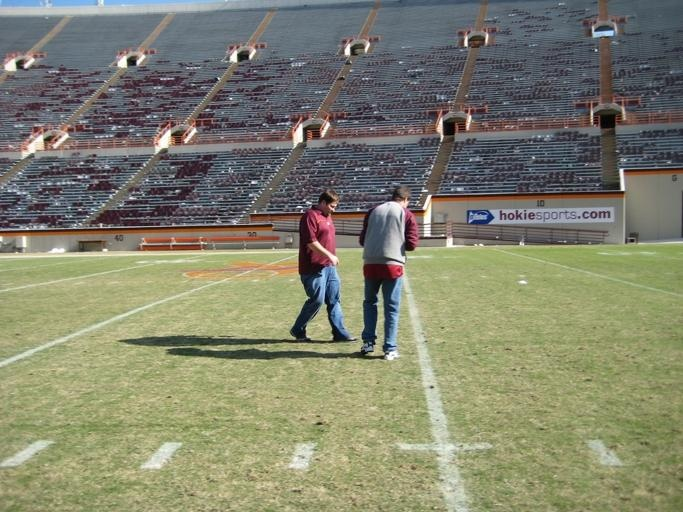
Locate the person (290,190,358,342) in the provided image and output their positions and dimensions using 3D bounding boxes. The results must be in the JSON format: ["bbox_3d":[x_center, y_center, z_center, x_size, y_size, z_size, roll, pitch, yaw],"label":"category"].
[{"bbox_3d":[-0.276,0.155,8.017,0.814,1.932,0.758,-4,9,-3],"label":"person"}]

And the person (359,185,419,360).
[{"bbox_3d":[0.534,0.287,7.263,0.716,1.765,0.438,-1,9,11],"label":"person"}]

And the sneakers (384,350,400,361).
[{"bbox_3d":[0.573,1.131,7.266,0.100,0.059,0.180,0,1,20],"label":"sneakers"}]
